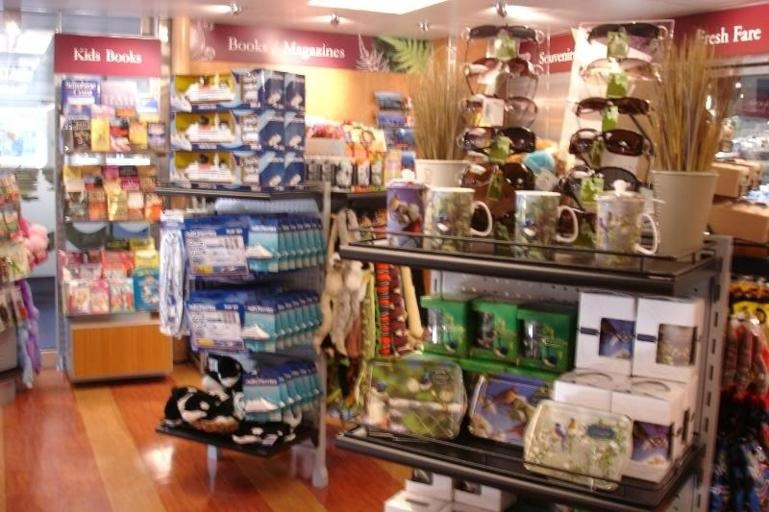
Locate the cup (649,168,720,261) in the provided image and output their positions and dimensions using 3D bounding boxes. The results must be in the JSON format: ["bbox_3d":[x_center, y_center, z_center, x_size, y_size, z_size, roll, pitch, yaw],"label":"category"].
[{"bbox_3d":[0.941,-0.140,1.875,0.167,0.263,0.208,8,12,36],"label":"cup"}]

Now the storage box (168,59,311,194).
[{"bbox_3d":[-0.876,-0.753,3.510,0.788,0.690,0.390,-2,10,-16],"label":"storage box"}]

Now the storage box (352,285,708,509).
[{"bbox_3d":[0.652,0.454,1.954,1.011,0.509,0.743,3,2,41],"label":"storage box"}]

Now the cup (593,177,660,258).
[{"bbox_3d":[0.749,-0.121,1.796,0.186,0.215,0.271,5,11,25],"label":"cup"}]

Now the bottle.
[{"bbox_3d":[0.206,-0.198,2.028,0.291,0.199,0.278,1,5,0],"label":"bottle"}]

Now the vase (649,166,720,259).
[{"bbox_3d":[0.985,-0.135,1.943,0.268,0.362,0.283,1,2,34],"label":"vase"}]

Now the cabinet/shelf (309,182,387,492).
[{"bbox_3d":[-0.193,0.379,3.738,0.348,1.421,0.327,1,21,1],"label":"cabinet/shelf"}]

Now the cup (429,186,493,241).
[{"bbox_3d":[0.252,-0.153,2.012,0.233,0.164,0.159,-5,11,-26],"label":"cup"}]

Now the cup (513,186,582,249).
[{"bbox_3d":[0.526,-0.107,1.931,0.230,0.163,0.145,4,-9,0],"label":"cup"}]

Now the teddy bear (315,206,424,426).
[{"bbox_3d":[-0.026,0.444,3.798,0.389,1.123,0.850,3,5,9],"label":"teddy bear"}]

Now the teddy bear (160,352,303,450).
[{"bbox_3d":[-0.970,0.966,3.804,0.718,0.233,0.733,6,15,-6],"label":"teddy bear"}]

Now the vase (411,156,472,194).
[{"bbox_3d":[0.204,-0.299,2.144,0.136,0.094,0.136,8,10,44],"label":"vase"}]
